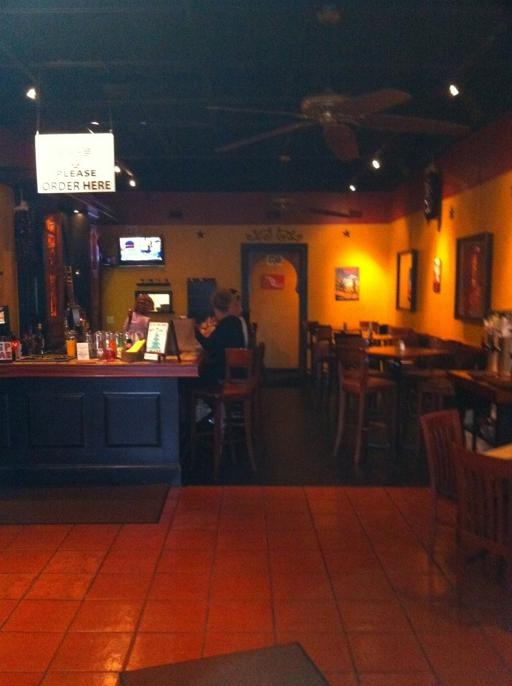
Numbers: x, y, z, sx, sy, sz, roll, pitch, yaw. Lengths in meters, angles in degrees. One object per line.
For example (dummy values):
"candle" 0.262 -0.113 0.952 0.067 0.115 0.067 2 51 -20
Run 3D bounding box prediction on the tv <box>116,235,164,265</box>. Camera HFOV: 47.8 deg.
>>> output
"tv" -1.901 -1.503 9.488 0.695 0.444 0.131 -1 5 -7
